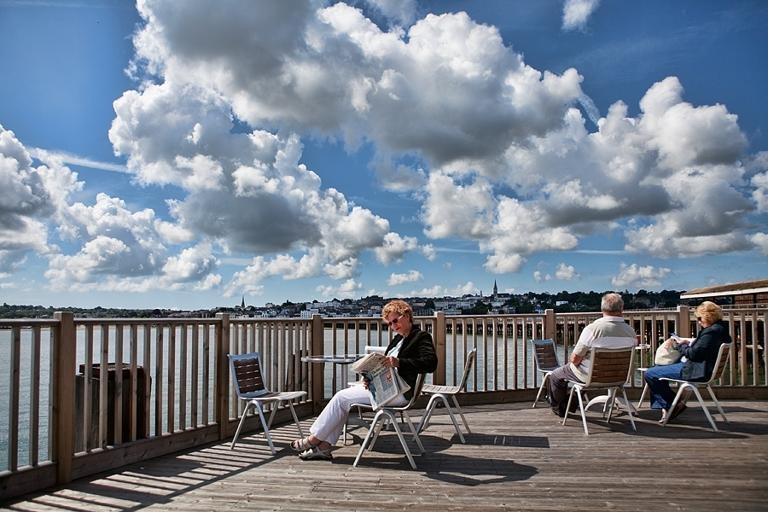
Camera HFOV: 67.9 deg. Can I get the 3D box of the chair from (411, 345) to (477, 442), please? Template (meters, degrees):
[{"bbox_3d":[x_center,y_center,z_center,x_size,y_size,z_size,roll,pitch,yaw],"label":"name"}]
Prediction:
[{"bbox_3d":[1.038,2.218,9.382,1.258,1.943,1.256,2,-3,7],"label":"chair"}]

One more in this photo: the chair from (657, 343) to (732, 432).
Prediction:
[{"bbox_3d":[5.105,2.073,9.337,1.016,1.356,1.046,4,-2,-31],"label":"chair"}]

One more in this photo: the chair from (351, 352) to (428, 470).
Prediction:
[{"bbox_3d":[0.111,2.251,8.602,1.277,1.986,1.221,0,-5,5],"label":"chair"}]

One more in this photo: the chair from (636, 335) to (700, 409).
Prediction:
[{"bbox_3d":[4.995,1.977,9.909,1.025,1.565,1.240,2,-6,20],"label":"chair"}]

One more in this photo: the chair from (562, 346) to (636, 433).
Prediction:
[{"bbox_3d":[3.494,2.121,9.265,1.131,1.343,1.081,2,-2,-40],"label":"chair"}]

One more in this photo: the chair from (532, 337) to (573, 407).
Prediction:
[{"bbox_3d":[3.066,2.068,9.929,0.689,1.167,0.821,1,-4,-24],"label":"chair"}]

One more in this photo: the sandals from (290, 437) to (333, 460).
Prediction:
[{"bbox_3d":[-1.001,2.707,8.007,0.557,0.287,0.263,6,-11,3],"label":"sandals"}]

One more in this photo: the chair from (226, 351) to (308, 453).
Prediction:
[{"bbox_3d":[-1.720,2.110,8.510,0.827,1.313,1.040,-3,-5,15],"label":"chair"}]

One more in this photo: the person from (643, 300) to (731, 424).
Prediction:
[{"bbox_3d":[4.938,1.711,9.266,1.255,1.921,0.514,-6,-6,32],"label":"person"}]
